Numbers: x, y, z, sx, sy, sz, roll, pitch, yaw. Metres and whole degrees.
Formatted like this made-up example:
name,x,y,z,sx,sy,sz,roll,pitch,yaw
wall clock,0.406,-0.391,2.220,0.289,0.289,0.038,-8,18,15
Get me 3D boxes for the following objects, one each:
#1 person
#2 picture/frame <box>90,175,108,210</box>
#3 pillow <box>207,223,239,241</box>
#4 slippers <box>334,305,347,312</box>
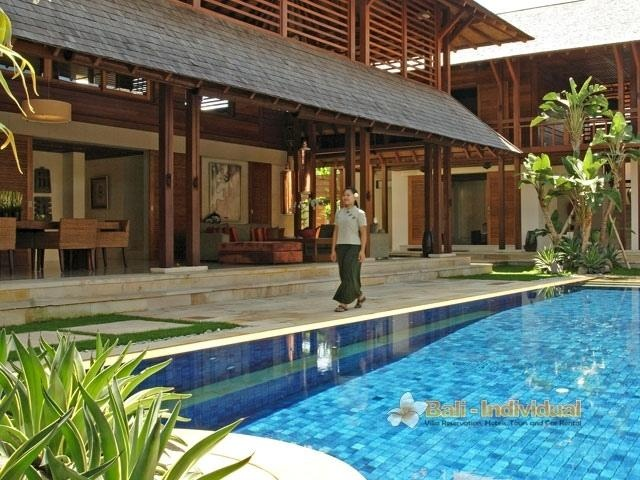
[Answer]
name,x,y,z,sx,sy,sz,roll,pitch,yaw
person,0.451,0.141,7.698,0.518,1.863,0.659,2,2,2
picture/frame,-6.995,-1.535,16.213,1.206,1.294,0.109,-1,-3,42
pillow,-2.704,-0.255,14.175,0.710,0.287,0.648,1,5,-12
slippers,0.322,1.005,7.537,0.199,0.094,0.275,2,2,1
